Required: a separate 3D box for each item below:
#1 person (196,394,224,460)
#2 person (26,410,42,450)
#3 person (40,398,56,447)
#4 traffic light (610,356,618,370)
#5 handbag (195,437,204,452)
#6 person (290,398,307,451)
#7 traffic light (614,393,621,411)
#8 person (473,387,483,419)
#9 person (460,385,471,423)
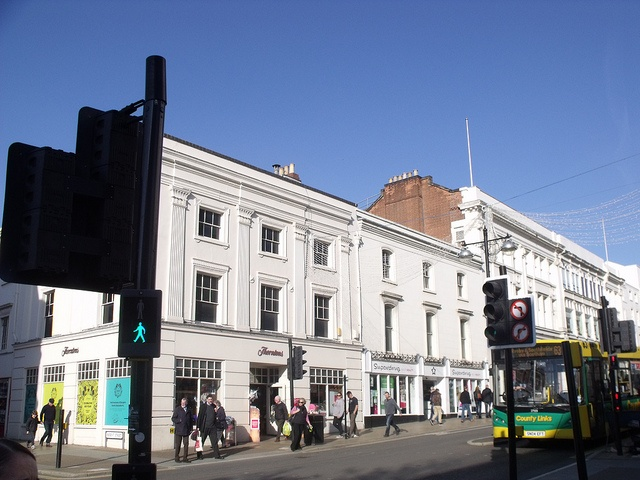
[{"bbox_3d":[-3.568,6.143,18.889,0.742,1.989,0.868,-5,-17,9],"label":"person"},{"bbox_3d":[-11.411,7.511,22.803,0.346,1.498,2.636,6,-21,-24],"label":"person"},{"bbox_3d":[-10.830,7.268,22.895,0.539,1.866,1.242,6,-19,-25],"label":"person"},{"bbox_3d":[8.080,3.375,15.846,0.347,0.399,0.139,15,-23,-42],"label":"traffic light"},{"bbox_3d":[-3.913,6.674,18.661,0.201,0.392,0.476,3,-19,-16],"label":"handbag"},{"bbox_3d":[-0.784,6.729,20.925,0.610,1.785,1.021,-3,-17,2],"label":"person"},{"bbox_3d":[8.234,4.455,15.868,0.133,0.493,0.481,-11,-20,28],"label":"traffic light"},{"bbox_3d":[8.883,9.109,32.244,0.380,1.638,2.645,-6,-19,13],"label":"person"},{"bbox_3d":[7.757,8.841,30.668,0.575,1.710,1.504,-6,-18,13],"label":"person"}]
